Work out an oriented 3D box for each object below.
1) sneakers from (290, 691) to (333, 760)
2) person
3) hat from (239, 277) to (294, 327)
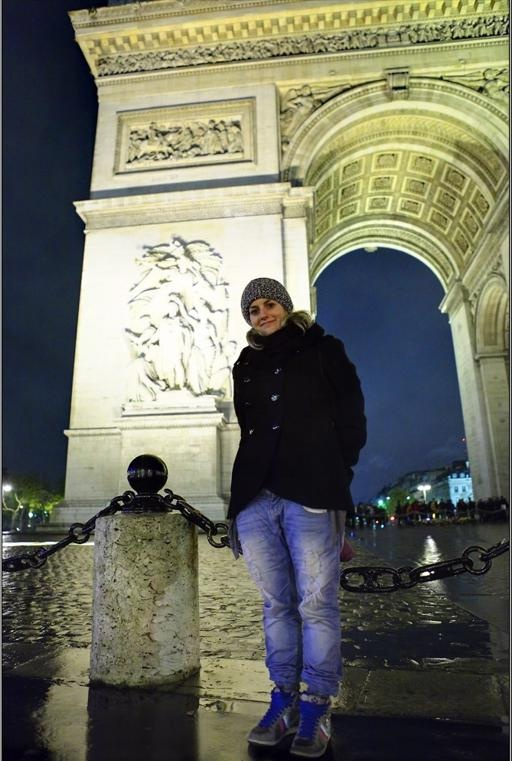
[{"bbox_3d":[0.171,1.040,1.797,0.119,0.138,0.241,-2,-14,7],"label":"sneakers"},{"bbox_3d":[0.131,0.354,2.094,0.526,1.620,0.448,-3,-15,11],"label":"person"},{"bbox_3d":[0.041,-0.331,2.397,0.171,0.105,0.202,-4,-12,8],"label":"hat"}]
